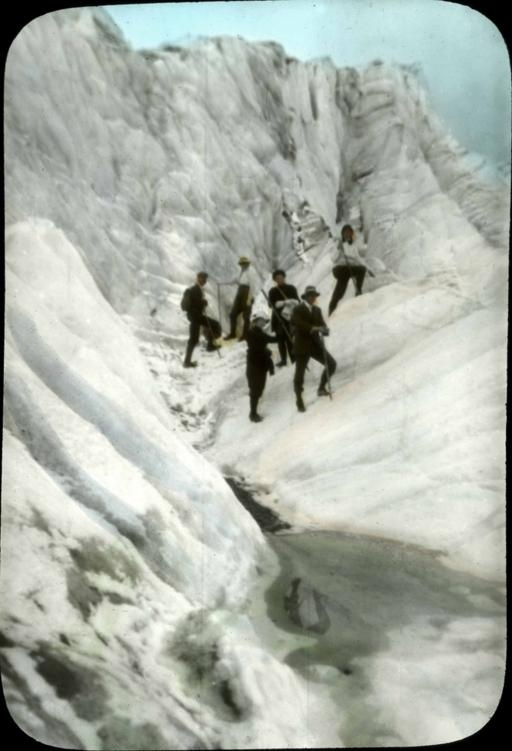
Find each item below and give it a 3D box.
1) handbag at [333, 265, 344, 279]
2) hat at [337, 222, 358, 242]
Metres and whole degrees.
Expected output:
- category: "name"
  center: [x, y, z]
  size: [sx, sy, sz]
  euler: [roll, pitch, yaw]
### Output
- category: "handbag"
  center: [0.464, -0.590, 5.778]
  size: [0.060, 0.054, 0.047]
  euler: [-3, 41, 4]
- category: "hat"
  center: [0.519, -0.820, 5.770]
  size: [0.068, 0.101, 0.097]
  euler: [-5, 16, -4]
